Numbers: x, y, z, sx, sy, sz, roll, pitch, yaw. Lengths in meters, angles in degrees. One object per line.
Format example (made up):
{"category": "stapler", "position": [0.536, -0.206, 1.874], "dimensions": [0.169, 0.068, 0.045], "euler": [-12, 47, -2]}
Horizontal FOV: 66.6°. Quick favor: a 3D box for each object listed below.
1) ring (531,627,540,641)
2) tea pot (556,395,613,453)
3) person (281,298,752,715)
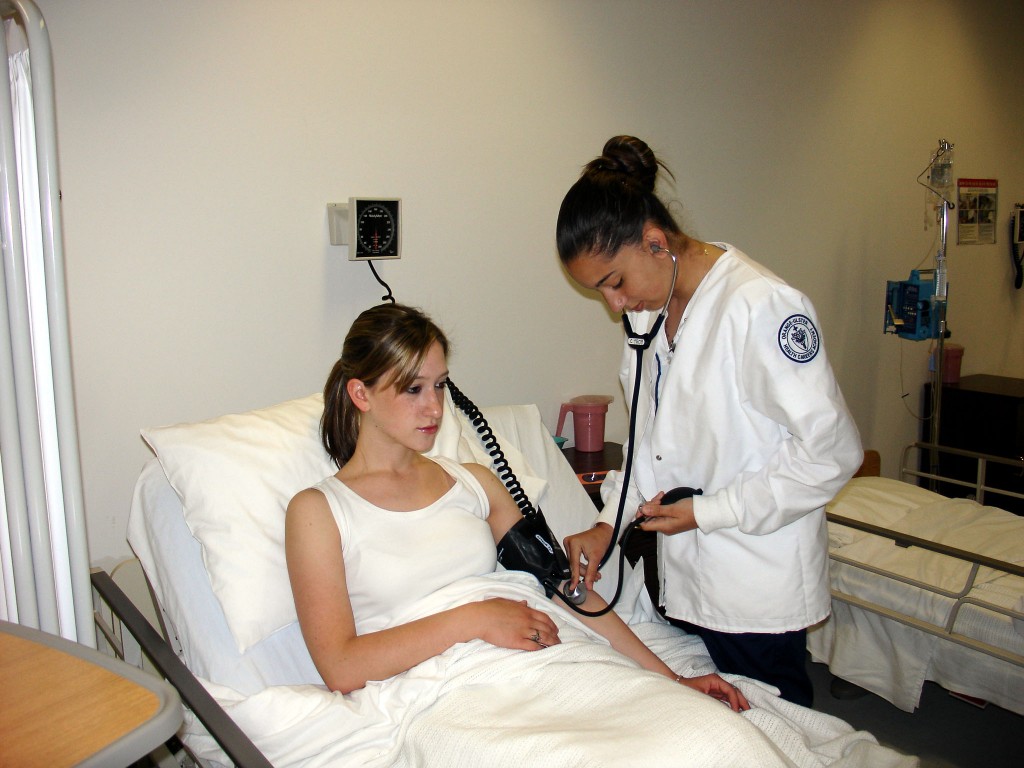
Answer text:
{"category": "ring", "position": [0.058, 0.602, 1.876], "dimensions": [0.017, 0.026, 0.007], "euler": [2, -7, -36]}
{"category": "tea pot", "position": [0.309, 0.163, 3.268], "dimensions": [0.244, 0.260, 0.176], "euler": [-1, 5, 11]}
{"category": "person", "position": [-0.150, 0.240, 2.063], "dimensions": [1.304, 0.924, 0.707], "euler": [11, 18, 30]}
